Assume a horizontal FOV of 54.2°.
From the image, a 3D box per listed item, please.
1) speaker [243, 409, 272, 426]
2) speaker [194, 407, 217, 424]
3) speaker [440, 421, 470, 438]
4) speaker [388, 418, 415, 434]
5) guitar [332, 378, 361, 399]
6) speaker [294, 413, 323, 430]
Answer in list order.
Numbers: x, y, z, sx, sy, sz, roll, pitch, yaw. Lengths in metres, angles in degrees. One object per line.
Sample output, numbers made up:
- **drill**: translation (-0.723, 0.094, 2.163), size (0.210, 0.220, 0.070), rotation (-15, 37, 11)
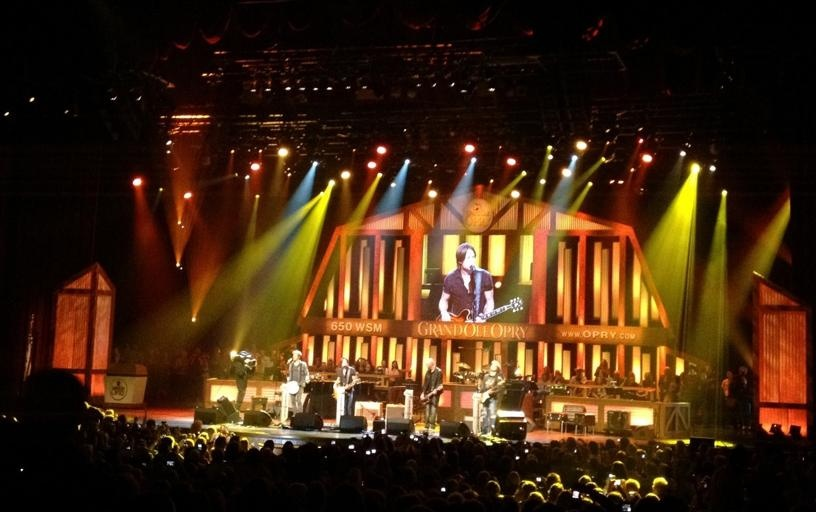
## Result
- **speaker**: translation (-3.907, 4.121, 20.301), size (0.612, 0.382, 0.418), rotation (-1, 13, 15)
- **speaker**: translation (-5.115, 3.963, 19.968), size (0.660, 0.405, 0.340), rotation (3, 6, 10)
- **speaker**: translation (1.086, 4.106, 18.919), size (0.571, 0.340, 0.430), rotation (-2, -4, 22)
- **speaker**: translation (-0.208, 4.051, 19.107), size (0.814, 0.464, 0.622), rotation (-1, -7, 9)
- **guitar**: translation (-1.798, 3.752, 22.571), size (0.902, 0.594, 0.621), rotation (8, -12, -20)
- **speaker**: translation (-2.594, 4.155, 20.061), size (0.639, 0.380, 0.456), rotation (0, 0, 16)
